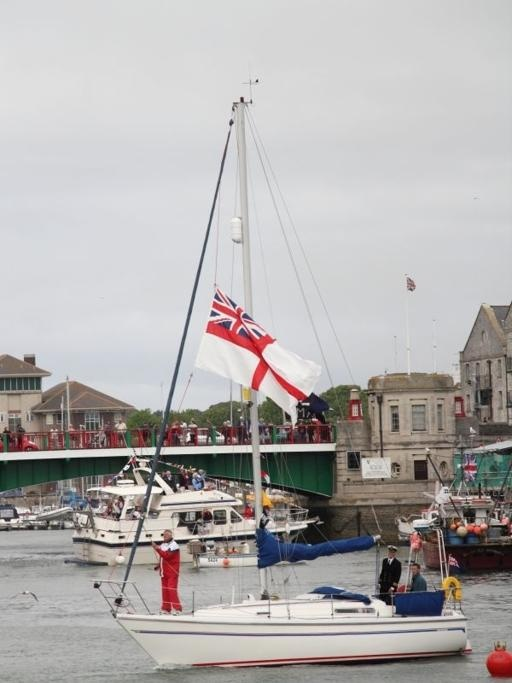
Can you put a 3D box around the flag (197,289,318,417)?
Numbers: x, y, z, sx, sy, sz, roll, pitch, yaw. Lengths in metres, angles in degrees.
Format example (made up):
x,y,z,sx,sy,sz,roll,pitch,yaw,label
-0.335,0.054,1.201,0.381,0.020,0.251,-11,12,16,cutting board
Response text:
x,y,z,sx,sy,sz,roll,pitch,yaw,label
0.023,0.320,39.827,2.189,3.548,2.133,7,-18,-42,flag

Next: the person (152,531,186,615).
x,y,z,sx,sy,sz,roll,pitch,yaw,label
-1.907,5.387,39.532,0.725,2.320,0.814,2,-10,-33,person

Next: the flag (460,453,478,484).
x,y,z,sx,sy,sz,roll,pitch,yaw,label
9.094,5.404,72.587,0.154,1.591,1.544,-1,-3,-25,flag

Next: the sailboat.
x,y,z,sx,sy,sz,roll,pitch,yaw,label
0.576,0.721,39.412,7.592,13.410,3.011,0,-6,-6,sailboat

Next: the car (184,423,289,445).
x,y,z,sx,sy,sz,roll,pitch,yaw,label
-1.011,3.752,69.318,4.018,0.754,1.161,-7,-7,-17,car

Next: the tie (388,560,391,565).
x,y,z,sx,sy,sz,roll,pitch,yaw,label
3.217,5.274,40.646,0.080,0.105,0.023,-8,-16,26,tie

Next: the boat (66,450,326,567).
x,y,z,sx,sy,sz,roll,pitch,yaw,label
-1.095,6.912,69.113,13.624,6.377,4.101,-2,1,-28,boat
